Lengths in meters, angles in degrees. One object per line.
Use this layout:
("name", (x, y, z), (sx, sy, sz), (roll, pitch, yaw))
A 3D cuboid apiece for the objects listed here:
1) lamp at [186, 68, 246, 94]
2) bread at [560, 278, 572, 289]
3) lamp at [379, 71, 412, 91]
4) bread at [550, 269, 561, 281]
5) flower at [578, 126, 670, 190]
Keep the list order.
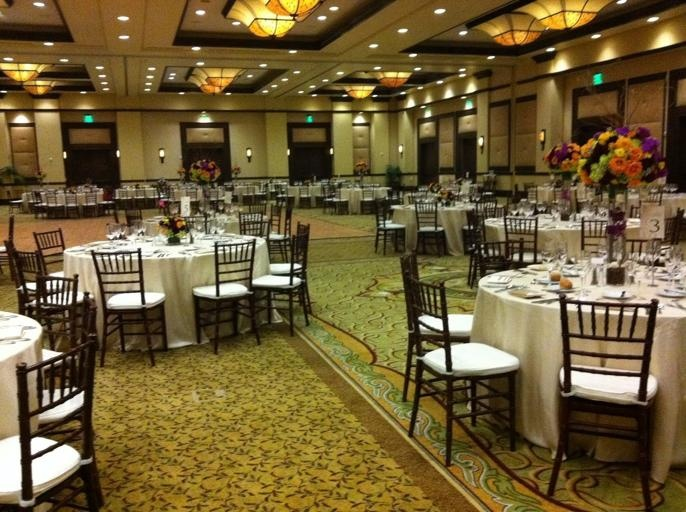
("lamp", (-4.362, -6.005, 16.520), (1.306, 0.525, 1.305), (-1, 7, -3))
("bread", (1.538, 0.191, 3.407), (0.082, 0.042, 0.091), (4, 12, 18))
("lamp", (1.662, -6.121, 17.062), (1.171, 0.304, 0.977), (-3, 6, -11))
("bread", (1.551, 0.144, 3.590), (0.057, 0.046, 0.053), (19, -40, -25))
("flower", (1.925, -0.697, 3.621), (0.594, 0.393, 0.587), (0, -1, -35))
